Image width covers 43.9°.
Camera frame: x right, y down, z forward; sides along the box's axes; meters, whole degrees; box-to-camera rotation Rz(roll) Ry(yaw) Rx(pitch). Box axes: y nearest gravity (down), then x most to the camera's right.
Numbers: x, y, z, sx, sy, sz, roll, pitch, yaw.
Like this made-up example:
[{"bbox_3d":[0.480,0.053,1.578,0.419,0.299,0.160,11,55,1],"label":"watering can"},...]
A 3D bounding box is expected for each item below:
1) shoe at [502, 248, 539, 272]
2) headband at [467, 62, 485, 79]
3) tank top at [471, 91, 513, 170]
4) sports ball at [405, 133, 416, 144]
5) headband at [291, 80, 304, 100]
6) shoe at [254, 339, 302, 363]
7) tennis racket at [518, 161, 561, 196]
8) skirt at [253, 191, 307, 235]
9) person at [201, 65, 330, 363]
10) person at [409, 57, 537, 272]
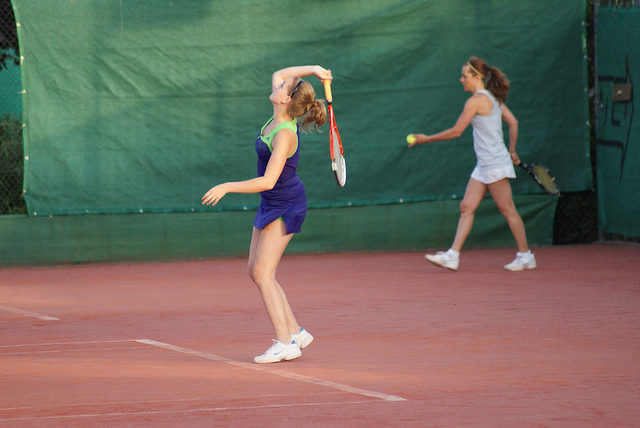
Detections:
[{"bbox_3d":[2.336,0.517,9.205,0.442,0.262,0.188,-6,5,-2],"label":"shoe"},{"bbox_3d":[1.767,-1.604,8.959,0.032,0.180,0.133,-27,19,51],"label":"headband"},{"bbox_3d":[1.960,-0.951,9.013,0.431,0.859,0.326,-3,13,-3],"label":"tank top"},{"bbox_3d":[1.016,-0.815,8.725,0.089,0.096,0.267,-2,13,4],"label":"sports ball"},{"bbox_3d":[-0.160,-0.953,6.145,0.028,0.109,0.113,23,12,-1],"label":"headband"},{"bbox_3d":[-0.292,1.047,6.177,0.388,0.182,0.137,-2,-5,-17],"label":"shoe"},{"bbox_3d":[2.686,-0.425,9.574,0.387,0.426,0.679,1,13,16],"label":"tennis racket"},{"bbox_3d":[-0.317,-0.047,6.252,0.399,0.404,0.251,8,-3,36],"label":"skirt"},{"bbox_3d":[-0.292,0.020,6.261,0.665,2.242,1.410,1,13,17],"label":"person"},{"bbox_3d":[1.859,-0.543,9.178,1.290,2.432,0.902,0,13,10],"label":"person"}]
